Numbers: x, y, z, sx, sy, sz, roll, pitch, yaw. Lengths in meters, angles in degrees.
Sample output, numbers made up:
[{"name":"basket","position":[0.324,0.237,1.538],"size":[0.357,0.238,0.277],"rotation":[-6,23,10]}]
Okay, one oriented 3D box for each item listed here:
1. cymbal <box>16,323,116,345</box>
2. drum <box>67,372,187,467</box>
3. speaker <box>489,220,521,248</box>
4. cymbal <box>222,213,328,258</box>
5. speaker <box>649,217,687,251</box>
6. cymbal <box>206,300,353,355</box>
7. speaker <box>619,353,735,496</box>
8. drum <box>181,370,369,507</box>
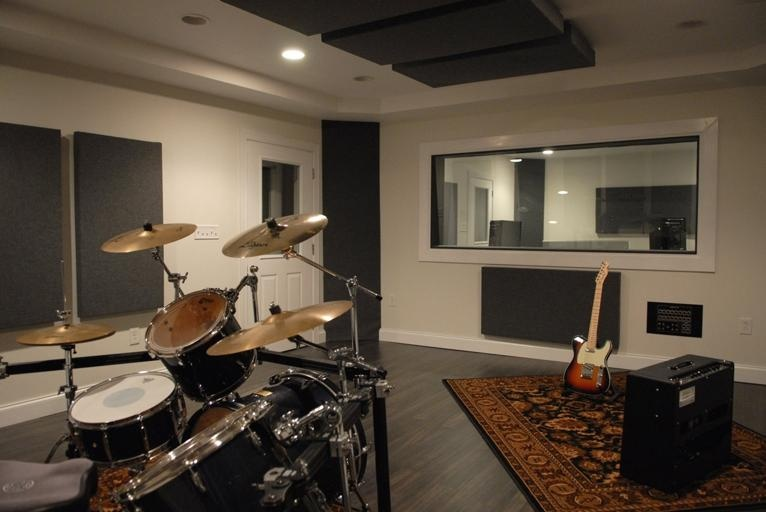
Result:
[{"name":"cymbal","position":[-2.433,0.584,4.098],"size":[0.285,0.077,0.291],"rotation":[10,11,38]},{"name":"drum","position":[-1.725,1.074,3.636],"size":[0.643,0.291,0.664],"rotation":[0,20,0]},{"name":"speaker","position":[1.437,-0.231,6.407],"size":[0.397,0.385,0.298],"rotation":[-3,-3,32]},{"name":"cymbal","position":[-0.731,-0.145,3.646],"size":[0.672,0.239,0.430],"rotation":[-4,12,-14]},{"name":"speaker","position":[3.105,-0.252,5.727],"size":[0.329,0.367,0.415],"rotation":[-17,12,-43]},{"name":"cymbal","position":[-0.580,0.392,3.183],"size":[0.483,0.109,0.488],"rotation":[-14,11,37]},{"name":"speaker","position":[2.159,1.156,3.983],"size":[0.866,0.733,0.508],"rotation":[-4,5,-28]},{"name":"drum","position":[-0.596,1.036,3.053],"size":[0.685,0.649,0.528],"rotation":[-35,-9,29]}]
